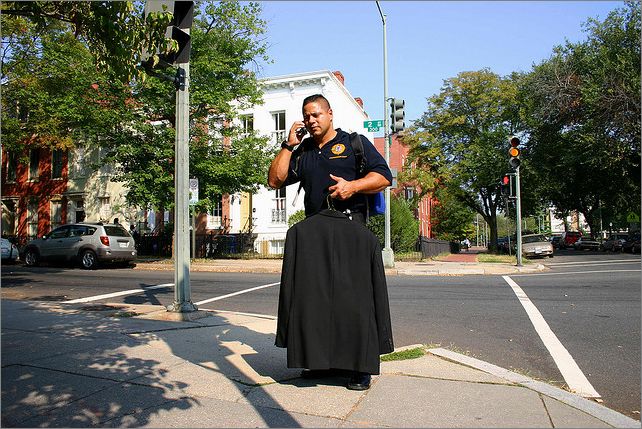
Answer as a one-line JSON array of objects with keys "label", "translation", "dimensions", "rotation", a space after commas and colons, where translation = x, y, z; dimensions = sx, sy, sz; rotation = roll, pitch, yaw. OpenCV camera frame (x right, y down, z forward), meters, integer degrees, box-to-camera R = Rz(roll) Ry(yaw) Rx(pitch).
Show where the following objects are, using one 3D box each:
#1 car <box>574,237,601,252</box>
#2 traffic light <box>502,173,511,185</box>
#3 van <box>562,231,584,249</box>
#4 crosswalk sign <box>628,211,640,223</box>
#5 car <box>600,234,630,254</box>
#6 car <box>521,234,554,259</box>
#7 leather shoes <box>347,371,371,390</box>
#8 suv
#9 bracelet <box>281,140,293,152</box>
[{"label": "car", "translation": [24.662, 2.719, 48.845], "dimensions": [1.348, 0.987, 3.051], "rotation": [-1, -1, 15]}, {"label": "traffic light", "translation": [7.084, -1.335, 20.079], "dimensions": [0.330, 0.418, 0.480], "rotation": [-2, -3, 20]}, {"label": "van", "translation": [26.697, 2.779, 55.520], "dimensions": [1.994, 1.923, 3.500], "rotation": [0, 2, 17]}, {"label": "crosswalk sign", "translation": [29.711, 0.184, 49.916], "dimensions": [1.407, 1.289, 0.227], "rotation": [3, 7, 13]}, {"label": "car", "translation": [23.898, 2.257, 41.991], "dimensions": [1.524, 1.315, 3.909], "rotation": [-1, 1, 14]}, {"label": "car", "translation": [12.021, 1.780, 29.206], "dimensions": [1.537, 1.267, 2.119], "rotation": [-3, -4, 21]}, {"label": "leather shoes", "translation": [0.476, 2.155, 6.742], "dimensions": [0.153, 0.141, 0.334], "rotation": [-2, -20, 15]}, {"label": "suv", "translation": [-9.242, 1.249, 20.309], "dimensions": [3.693, 1.436, 1.785], "rotation": [2, -5, 16]}, {"label": "bracelet", "translation": [-0.487, -0.942, 7.142], "dimensions": [0.151, 0.078, 0.136], "rotation": [25, -8, 24]}]
